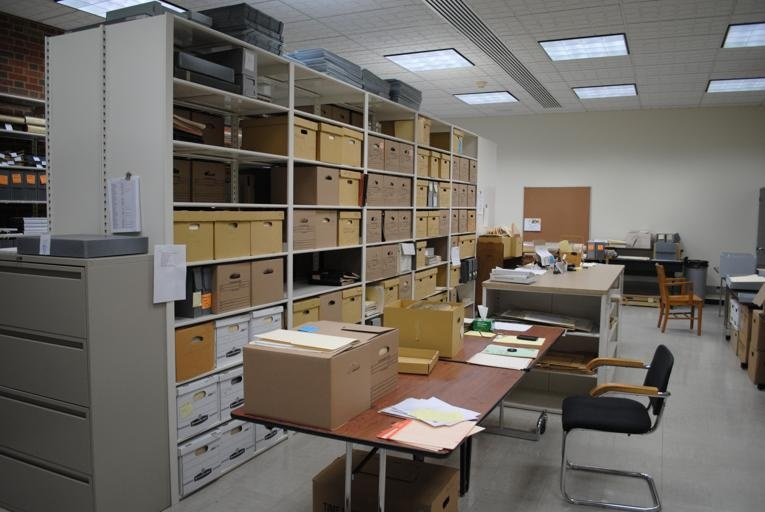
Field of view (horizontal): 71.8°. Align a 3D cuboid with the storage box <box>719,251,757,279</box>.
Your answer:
[{"bbox_3d":[5.542,0.118,8.149,0.641,0.355,0.607,-5,8,-29],"label":"storage box"}]
